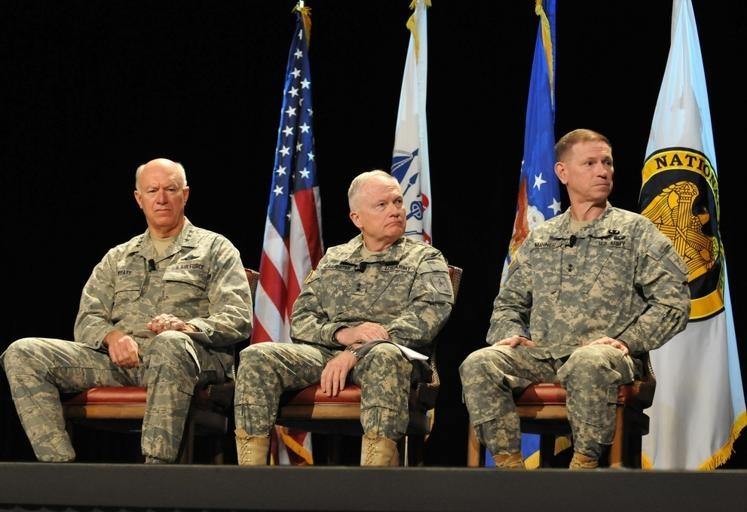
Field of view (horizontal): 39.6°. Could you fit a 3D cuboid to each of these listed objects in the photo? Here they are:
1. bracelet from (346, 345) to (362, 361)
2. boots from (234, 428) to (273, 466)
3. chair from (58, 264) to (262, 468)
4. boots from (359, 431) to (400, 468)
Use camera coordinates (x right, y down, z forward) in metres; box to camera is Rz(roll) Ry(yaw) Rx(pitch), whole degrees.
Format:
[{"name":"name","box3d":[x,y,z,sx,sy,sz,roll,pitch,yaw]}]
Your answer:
[{"name":"bracelet","box3d":[-0.085,0.440,4.718,0.056,0.066,0.065,3,-8,39]},{"name":"boots","box3d":[-0.537,0.883,4.722,0.226,0.246,0.159,2,-14,-7]},{"name":"chair","box3d":[-1.100,0.704,5.174,0.632,0.923,0.712,-2,-14,8]},{"name":"boots","box3d":[0.021,0.850,4.556,0.152,0.143,0.152,0,-14,8]}]
